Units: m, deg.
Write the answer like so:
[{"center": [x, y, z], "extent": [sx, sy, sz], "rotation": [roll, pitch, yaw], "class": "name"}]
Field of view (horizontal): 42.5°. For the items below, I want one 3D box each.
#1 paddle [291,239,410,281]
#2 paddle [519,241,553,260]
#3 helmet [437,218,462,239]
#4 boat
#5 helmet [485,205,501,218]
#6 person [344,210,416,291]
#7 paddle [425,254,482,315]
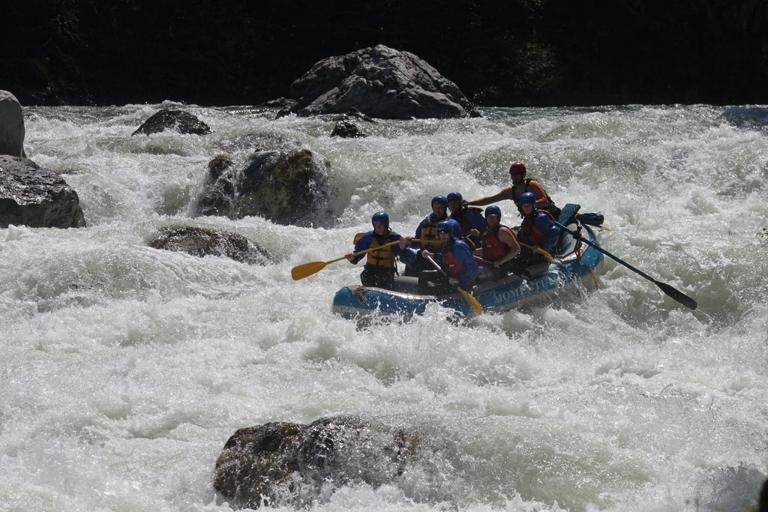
[{"center": [-0.682, 0.103, 20.878], "extent": [2.577, 0.148, 0.309], "rotation": [-17, 91, 13], "class": "paddle"}, {"center": [3.137, -0.113, 20.540], "extent": [0.801, 0.094, 0.124], "rotation": [22, 63, 36], "class": "paddle"}, {"center": [1.318, -0.574, 19.993], "extent": [0.387, 0.347, 0.448], "rotation": [-14, 95, 7], "class": "helmet"}, {"center": [1.803, 0.662, 20.220], "extent": [4.123, 1.000, 2.030], "rotation": [-10, 20, -15], "class": "boat"}, {"center": [2.234, -0.915, 20.410], "extent": [0.310, 0.402, 0.317], "rotation": [2, 51, 7], "class": "helmet"}, {"center": [-0.066, -0.052, 20.938], "extent": [1.367, 0.947, 1.858], "rotation": [-3, 68, 3], "class": "person"}, {"center": [1.384, 0.607, 19.852], "extent": [1.820, 0.104, 0.311], "rotation": [46, 112, 30], "class": "paddle"}]
